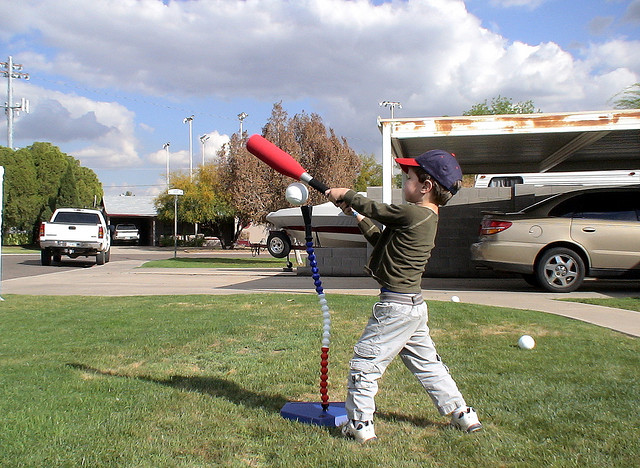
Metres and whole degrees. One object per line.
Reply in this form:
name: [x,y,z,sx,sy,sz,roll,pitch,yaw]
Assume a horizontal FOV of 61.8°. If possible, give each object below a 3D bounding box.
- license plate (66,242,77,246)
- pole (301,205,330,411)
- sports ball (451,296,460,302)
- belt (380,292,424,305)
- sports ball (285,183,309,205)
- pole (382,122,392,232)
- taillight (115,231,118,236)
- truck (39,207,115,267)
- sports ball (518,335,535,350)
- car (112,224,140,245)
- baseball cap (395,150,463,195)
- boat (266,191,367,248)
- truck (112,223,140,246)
license plate: [-8.136,0.308,17.443,0.309,0.125,0.024,-1,4,-10]
pole: [-0.026,0.567,4.109,0.277,1.380,0.298,3,3,-4]
sports ball: [2.251,1.068,8.857,0.083,0.104,0.086,1,-22,0]
belt: [0.571,0.438,3.736,0.301,0.089,0.174,0,4,6]
sports ball: [-0.167,-0.301,4.117,0.150,0.172,0.160,2,-25,1]
pole: [1.378,-1.470,11.041,0.170,1.627,0.507,0,4,8]
taillight: [-16.477,-0.044,43.157,0.136,0.308,0.714,-1,4,-16]
truck: [-8.088,0.058,17.646,1.595,1.277,2.809,1,2,-6]
sports ball: [2.205,1.182,5.715,0.144,0.126,0.127,25,27,-34]
car: [-15.750,0.051,43.127,1.679,1.429,3.867,0,1,-21]
baseball cap: [0.859,-0.508,3.934,0.496,0.275,0.317,33,7,36]
boat: [0.154,-0.353,15.939,3.515,1.776,2.586,0,4,-22]
truck: [-15.812,0.066,43.329,1.856,1.634,4.338,0,1,-21]
